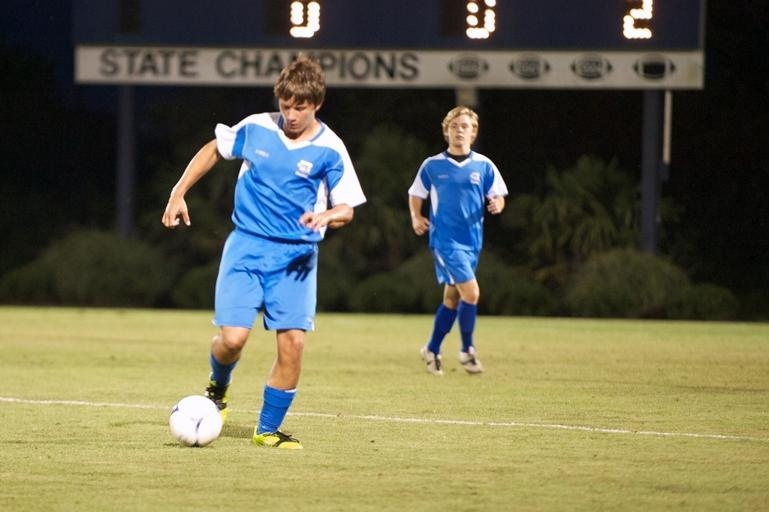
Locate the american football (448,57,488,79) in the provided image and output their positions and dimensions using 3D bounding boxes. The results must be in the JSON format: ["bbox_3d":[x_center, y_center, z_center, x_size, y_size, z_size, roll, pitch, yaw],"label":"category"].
[{"bbox_3d":[1.429,-3.145,21.182,0.665,0.362,0.079,-2,13,2],"label":"american football"}]

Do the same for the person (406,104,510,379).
[{"bbox_3d":[0.836,-0.159,14.713,1.082,3.119,0.838,1,8,1],"label":"person"}]

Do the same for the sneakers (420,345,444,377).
[{"bbox_3d":[0.597,1.230,14.828,0.155,0.186,0.422,4,22,-28],"label":"sneakers"}]

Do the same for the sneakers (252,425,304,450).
[{"bbox_3d":[-1.032,1.728,11.997,0.361,0.140,0.197,2,-3,1],"label":"sneakers"}]

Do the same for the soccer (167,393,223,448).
[{"bbox_3d":[-1.779,1.554,11.887,0.477,0.458,0.260,-1,-10,-6],"label":"soccer"}]
